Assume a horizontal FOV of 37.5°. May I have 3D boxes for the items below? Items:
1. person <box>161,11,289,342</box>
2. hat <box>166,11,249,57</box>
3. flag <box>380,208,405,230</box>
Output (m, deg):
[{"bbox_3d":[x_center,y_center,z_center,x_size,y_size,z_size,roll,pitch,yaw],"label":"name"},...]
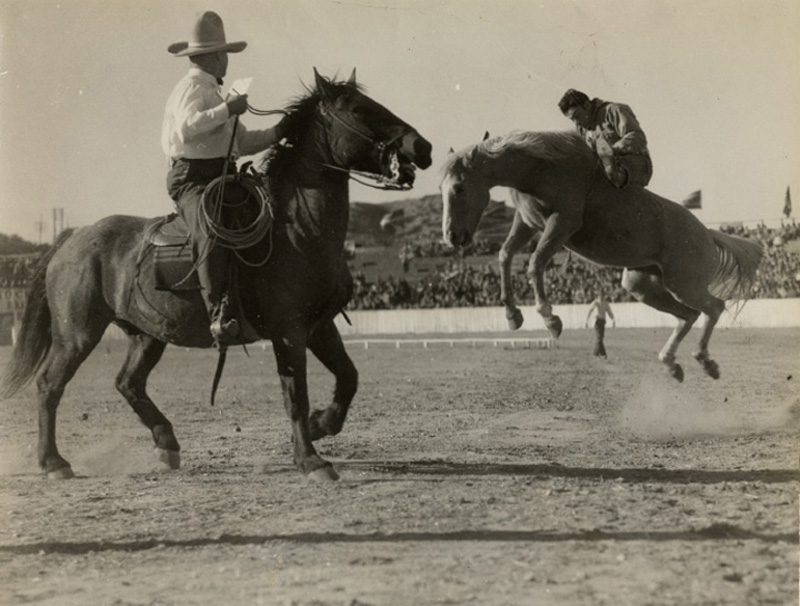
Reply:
[{"bbox_3d":[-1.275,-0.919,8.424,0.687,2.287,0.905,-6,12,-21],"label":"person"},{"bbox_3d":[-1.386,-1.960,8.577,0.684,0.262,0.517,-14,21,-35],"label":"hat"},{"bbox_3d":[-0.080,-0.957,13.268,0.191,0.059,0.237,-4,-30,-40],"label":"flag"}]
